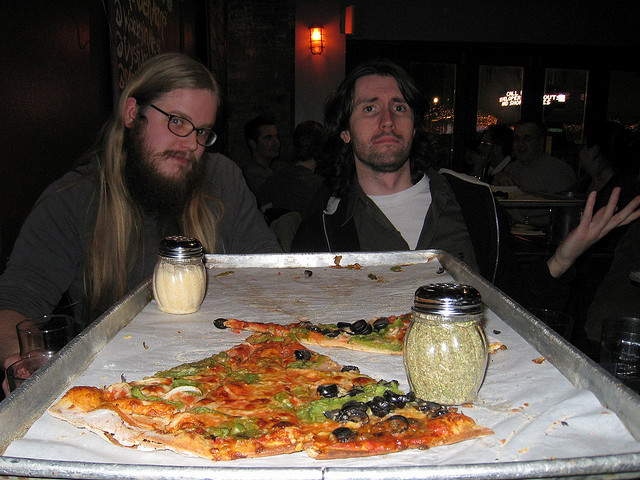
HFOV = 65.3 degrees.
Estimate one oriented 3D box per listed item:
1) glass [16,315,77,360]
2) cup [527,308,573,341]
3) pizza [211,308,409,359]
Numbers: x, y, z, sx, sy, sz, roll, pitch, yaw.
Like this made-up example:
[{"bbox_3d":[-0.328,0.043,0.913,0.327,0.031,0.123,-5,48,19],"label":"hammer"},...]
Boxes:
[{"bbox_3d":[-1.010,0.346,1.891,0.202,0.164,0.208,0,-1,-2],"label":"glass"},{"bbox_3d":[1.009,0.367,2.230,0.171,0.163,0.164,0,-3,0],"label":"cup"},{"bbox_3d":[-0.076,0.318,1.749,0.741,0.032,0.226,4,19,9],"label":"pizza"}]
